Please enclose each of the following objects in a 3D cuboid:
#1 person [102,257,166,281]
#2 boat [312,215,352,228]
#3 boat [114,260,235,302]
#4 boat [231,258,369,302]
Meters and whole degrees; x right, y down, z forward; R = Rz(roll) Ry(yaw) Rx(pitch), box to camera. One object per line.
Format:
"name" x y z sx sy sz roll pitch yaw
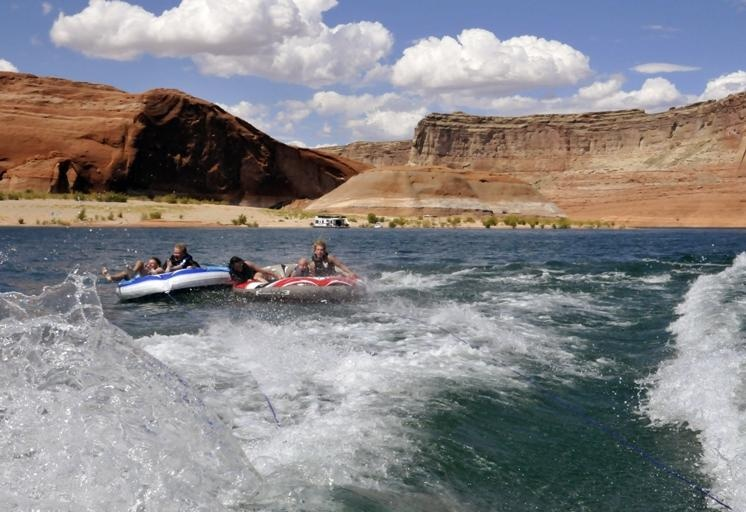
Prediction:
"person" -5.686 0.302 16.165 1.548 0.339 1.087 -1 -9 -43
"boat" -3.310 -2.946 52.812 1.832 0.501 2.430 0 -1 43
"boat" -4.840 0.488 15.803 2.751 0.417 1.998 -4 12 7
"boat" -1.766 0.592 15.292 3.034 0.677 1.633 -1 7 -8
